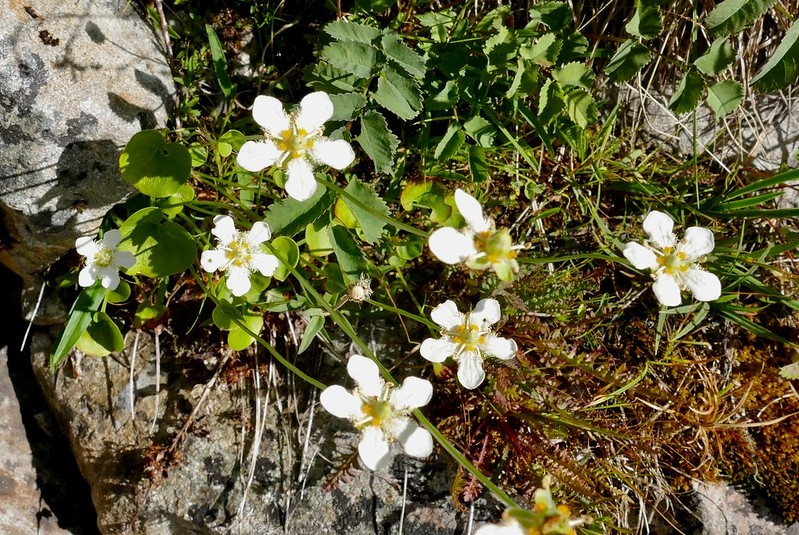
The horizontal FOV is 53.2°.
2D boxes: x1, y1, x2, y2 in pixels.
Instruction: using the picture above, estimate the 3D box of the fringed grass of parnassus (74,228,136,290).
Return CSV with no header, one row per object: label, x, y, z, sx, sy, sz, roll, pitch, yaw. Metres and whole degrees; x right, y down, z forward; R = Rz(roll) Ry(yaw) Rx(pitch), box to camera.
fringed grass of parnassus,-2.014,-0.061,5.407,0.369,0.428,0.088,-12,10,7
